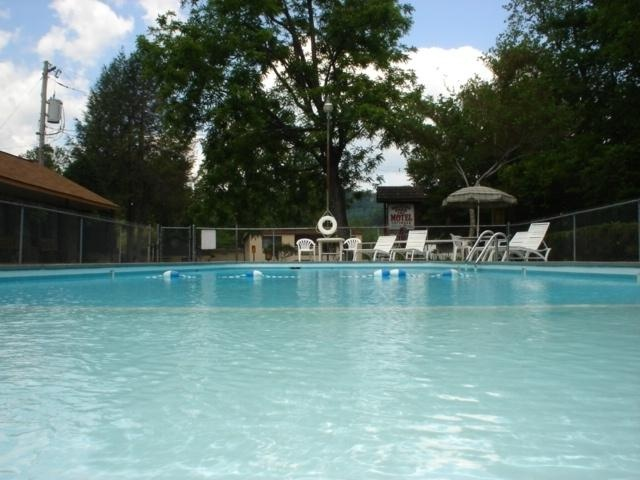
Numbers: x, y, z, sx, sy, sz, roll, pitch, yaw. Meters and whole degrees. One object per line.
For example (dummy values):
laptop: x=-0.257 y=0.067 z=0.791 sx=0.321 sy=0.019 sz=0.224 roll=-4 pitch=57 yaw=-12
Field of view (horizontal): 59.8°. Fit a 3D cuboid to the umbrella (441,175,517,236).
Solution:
umbrella: x=5.937 y=-1.536 z=20.430 sx=2.340 sy=1.724 sz=2.352 roll=5 pitch=9 yaw=43
